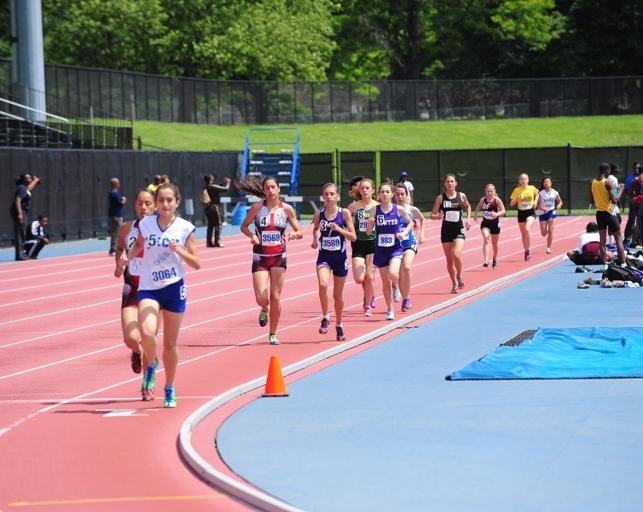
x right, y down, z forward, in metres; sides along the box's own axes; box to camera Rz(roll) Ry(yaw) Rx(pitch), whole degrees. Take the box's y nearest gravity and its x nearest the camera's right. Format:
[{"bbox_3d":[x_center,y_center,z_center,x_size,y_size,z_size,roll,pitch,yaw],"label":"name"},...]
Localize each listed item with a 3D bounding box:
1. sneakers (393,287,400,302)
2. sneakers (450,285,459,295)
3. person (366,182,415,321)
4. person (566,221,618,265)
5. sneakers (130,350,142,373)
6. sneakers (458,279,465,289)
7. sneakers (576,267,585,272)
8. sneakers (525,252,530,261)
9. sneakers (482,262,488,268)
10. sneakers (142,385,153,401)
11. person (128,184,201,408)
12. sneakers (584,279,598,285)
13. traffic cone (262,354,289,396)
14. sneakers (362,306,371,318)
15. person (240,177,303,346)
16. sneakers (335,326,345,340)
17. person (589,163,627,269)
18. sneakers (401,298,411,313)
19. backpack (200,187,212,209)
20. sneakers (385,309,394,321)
[{"bbox_3d":[1.226,0.607,14.045,0.081,0.267,0.102,-7,-27,11],"label":"sneakers"},{"bbox_3d":[2.497,0.617,16.067,0.147,0.194,0.458,-1,-1,12],"label":"sneakers"},{"bbox_3d":[1.115,-0.083,13.681,0.701,2.189,1.181,-2,8,6],"label":"person"},{"bbox_3d":[6.310,-0.313,19.855,0.930,0.993,1.007,-2,5,-16],"label":"person"},{"bbox_3d":[-2.047,1.158,9.457,0.097,0.293,0.111,-4,14,2],"label":"sneakers"},{"bbox_3d":[2.650,0.516,16.311,0.135,0.203,0.077,-2,4,-2],"label":"sneakers"},{"bbox_3d":[5.583,0.282,18.550,0.220,0.103,0.172,5,12,44],"label":"sneakers"},{"bbox_3d":[5.035,-0.016,21.040,0.086,0.206,0.275,4,17,22],"label":"sneakers"},{"bbox_3d":[3.696,0.175,19.318,0.083,0.118,0.127,-1,-2,15],"label":"sneakers"},{"bbox_3d":[-1.862,1.464,9.193,0.107,0.167,0.157,1,-4,-3],"label":"sneakers"},{"bbox_3d":[-1.593,0.424,8.892,0.654,2.327,0.751,-5,8,-14],"label":"person"},{"bbox_3d":[5.254,0.485,16.684,0.268,0.125,0.151,-2,6,-26],"label":"sneakers"},{"bbox_3d":[-0.512,1.266,9.374,0.285,0.453,0.381,-4,8,-4],"label":"traffic cone"},{"bbox_3d":[0.738,0.891,13.915,0.138,0.197,0.431,-1,-3,6],"label":"sneakers"},{"bbox_3d":[-0.666,0.074,11.623,0.721,2.310,0.836,-4,8,-10],"label":"person"},{"bbox_3d":[0.268,1.050,12.006,0.116,0.215,0.251,-3,8,1],"label":"sneakers"},{"bbox_3d":[5.925,-0.865,17.708,0.649,2.096,1.305,0,8,19],"label":"person"},{"bbox_3d":[1.398,0.807,14.197,0.158,0.235,0.504,0,-7,4],"label":"sneakers"},{"bbox_3d":[-3.331,-1.638,24.122,0.183,0.534,0.364,-7,-6,26],"label":"backpack"},{"bbox_3d":[1.066,0.899,13.383,0.129,0.186,0.319,-2,9,3],"label":"sneakers"}]
